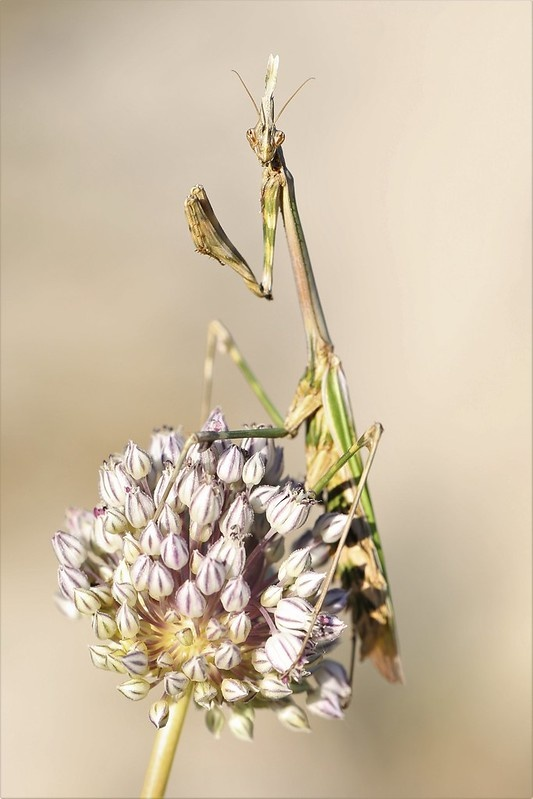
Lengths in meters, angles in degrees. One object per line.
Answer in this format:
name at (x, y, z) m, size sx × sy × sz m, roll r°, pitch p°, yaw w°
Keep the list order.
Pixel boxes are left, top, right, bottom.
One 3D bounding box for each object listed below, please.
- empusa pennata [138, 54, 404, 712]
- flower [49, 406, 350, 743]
empusa pennata at (0.038, -0.056, 1.100) m, size 0.356 × 0.276 × 0.688 m, roll 1°, pitch -62°, yaw -17°
flower at (-0.069, 0.196, 1.024) m, size 0.360 × 0.376 × 0.286 m, roll 3°, pitch -39°, yaw -10°
